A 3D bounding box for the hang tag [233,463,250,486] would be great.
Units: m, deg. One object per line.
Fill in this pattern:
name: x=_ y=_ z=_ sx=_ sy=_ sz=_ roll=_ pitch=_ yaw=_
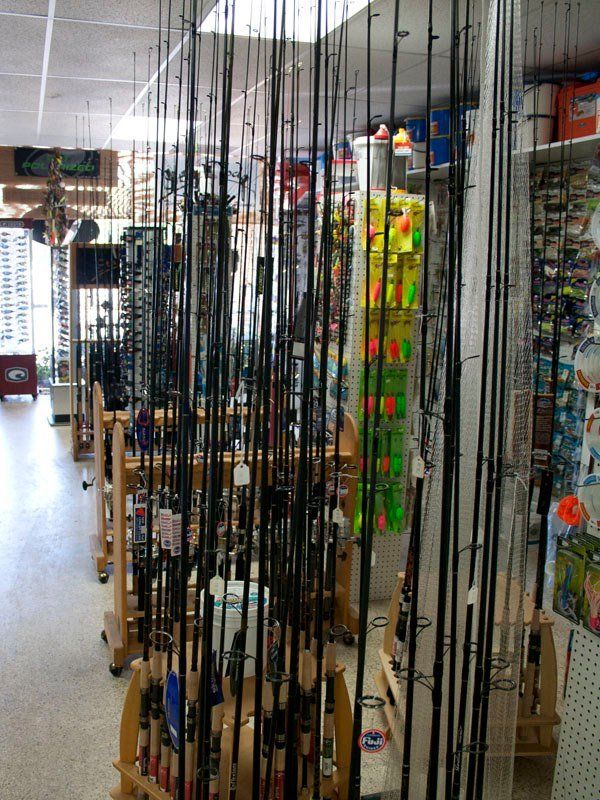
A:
hang tag: x=-0.127 y=0.153 z=1.534 sx=0.029 sy=0.056 sz=0.124 roll=0 pitch=8 yaw=-6
